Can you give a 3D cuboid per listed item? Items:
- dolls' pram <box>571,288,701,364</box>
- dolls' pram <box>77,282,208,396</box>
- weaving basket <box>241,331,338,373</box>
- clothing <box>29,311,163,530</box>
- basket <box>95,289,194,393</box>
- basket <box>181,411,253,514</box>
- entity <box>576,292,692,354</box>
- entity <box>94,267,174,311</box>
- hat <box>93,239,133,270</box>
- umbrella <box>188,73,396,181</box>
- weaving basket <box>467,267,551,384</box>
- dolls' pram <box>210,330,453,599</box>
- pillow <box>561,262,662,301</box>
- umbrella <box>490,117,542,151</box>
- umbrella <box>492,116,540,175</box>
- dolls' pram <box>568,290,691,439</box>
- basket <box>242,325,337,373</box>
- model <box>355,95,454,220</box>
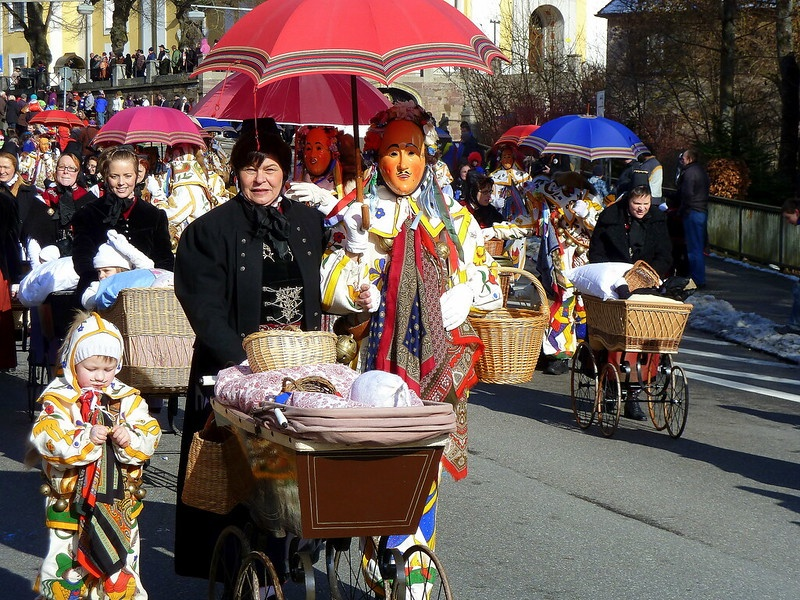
[{"bbox_3d":[2.113,0.210,7.691,0.554,0.411,0.783,0,7,-14],"label":"dolls' pram"},{"bbox_3d":[-1.646,0.281,5.576,0.582,0.638,0.817,1,-3,-24],"label":"dolls' pram"},{"bbox_3d":[-0.456,0.202,3.465,0.268,0.125,0.202,-2,-11,-22],"label":"weaving basket"},{"bbox_3d":[-1.549,0.631,4.235,0.615,1.072,0.483,-2,8,-20],"label":"clothing"},{"bbox_3d":[-1.713,0.285,5.562,0.558,0.621,0.781,1,-3,-23],"label":"basket"},{"bbox_3d":[-0.766,0.667,3.670,0.229,0.404,0.269,16,-11,14],"label":"basket"},{"bbox_3d":[2.111,0.199,7.713,0.546,0.405,0.773,0,7,-14],"label":"entity"},{"bbox_3d":[-1.919,-0.116,5.950,0.463,0.222,0.558,-1,2,-34],"label":"entity"},{"bbox_3d":[-2.290,-0.365,6.619,0.234,0.213,0.174,-14,11,-27],"label":"hat"},{"bbox_3d":[-0.884,-1.593,6.929,1.232,0.951,1.263,1,-2,8],"label":"umbrella"},{"bbox_3d":[0.620,0.124,4.740,0.421,0.618,0.542,2,3,-4],"label":"weaving basket"},{"bbox_3d":[-0.231,0.772,3.259,0.814,1.230,0.949,-3,8,-23],"label":"dolls' pram"},{"bbox_3d":[2.082,-0.205,7.902,0.466,0.200,0.469,-5,10,-31],"label":"pillow"},{"bbox_3d":[2.028,-2.956,14.689,0.946,0.348,0.983,-9,-5,34],"label":"umbrella"},{"bbox_3d":[2.043,-2.777,14.849,0.659,0.659,0.712,-1,7,1],"label":"umbrella"},{"bbox_3d":[2.390,0.479,8.229,0.955,1.499,1.432,-2,14,-16],"label":"dolls' pram"},{"bbox_3d":[-0.447,0.204,3.417,0.265,0.129,0.204,-3,-9,-21],"label":"basket"},{"bbox_3d":[0.023,-0.714,4.433,0.445,0.668,0.328,-1,3,3],"label":"model"}]
